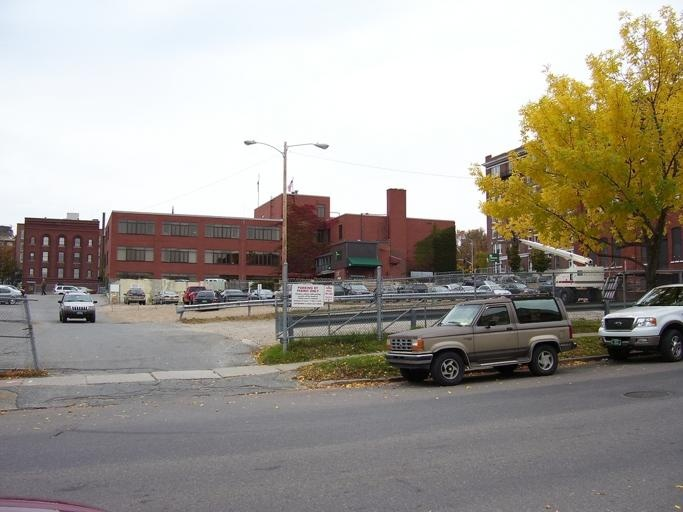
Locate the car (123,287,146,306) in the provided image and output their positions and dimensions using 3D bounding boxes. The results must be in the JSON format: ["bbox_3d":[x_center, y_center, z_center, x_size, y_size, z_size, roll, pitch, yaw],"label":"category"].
[{"bbox_3d":[-20.269,3.991,63.232,1.554,1.141,2.861,1,2,-21],"label":"car"}]

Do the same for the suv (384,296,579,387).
[{"bbox_3d":[3.558,2.206,17.334,4.428,2.043,2.292,3,-8,-26],"label":"suv"}]

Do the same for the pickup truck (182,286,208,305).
[{"bbox_3d":[-13.608,3.507,58.937,1.742,1.171,3.072,0,-4,-22],"label":"pickup truck"}]

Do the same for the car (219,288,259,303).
[{"bbox_3d":[-8.763,3.288,52.971,1.605,1.122,3.488,1,2,-27],"label":"car"}]

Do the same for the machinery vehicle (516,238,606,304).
[{"bbox_3d":[13.492,0.974,40.724,2.157,4.277,6.683,2,-2,-18],"label":"machinery vehicle"}]

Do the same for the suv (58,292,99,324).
[{"bbox_3d":[-15.529,2.998,37.948,1.473,1.158,2.899,2,-9,-21],"label":"suv"}]

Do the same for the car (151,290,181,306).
[{"bbox_3d":[-17.442,4.106,63.887,1.639,1.218,3.599,1,-1,-28],"label":"car"}]

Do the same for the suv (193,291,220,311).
[{"bbox_3d":[-10.768,3.411,50.141,1.673,1.200,3.807,1,2,-6],"label":"suv"}]
